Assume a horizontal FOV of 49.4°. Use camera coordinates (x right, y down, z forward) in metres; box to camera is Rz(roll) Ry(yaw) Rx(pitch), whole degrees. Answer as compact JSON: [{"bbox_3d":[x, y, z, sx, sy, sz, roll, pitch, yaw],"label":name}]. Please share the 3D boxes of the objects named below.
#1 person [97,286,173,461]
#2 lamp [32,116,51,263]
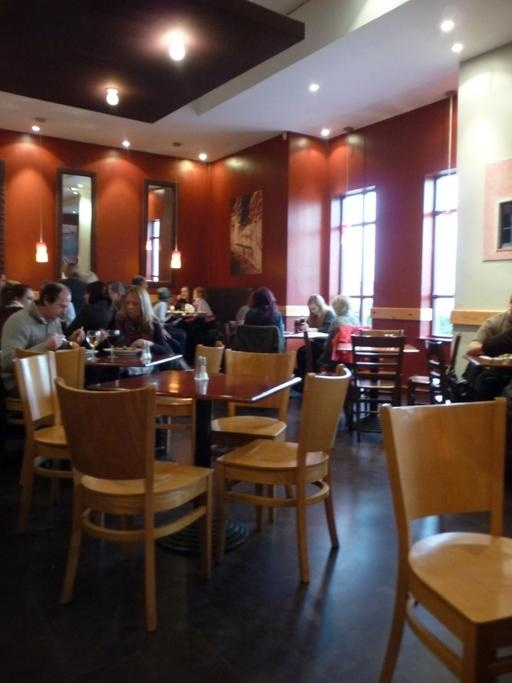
[{"bbox_3d":[-0.968,0.164,4.589,0.583,1.379,0.471,8,34,3],"label":"person"},{"bbox_3d":[-3.441,-2.292,8.891,0.256,2.069,0.669,0,3,-21],"label":"lamp"}]
